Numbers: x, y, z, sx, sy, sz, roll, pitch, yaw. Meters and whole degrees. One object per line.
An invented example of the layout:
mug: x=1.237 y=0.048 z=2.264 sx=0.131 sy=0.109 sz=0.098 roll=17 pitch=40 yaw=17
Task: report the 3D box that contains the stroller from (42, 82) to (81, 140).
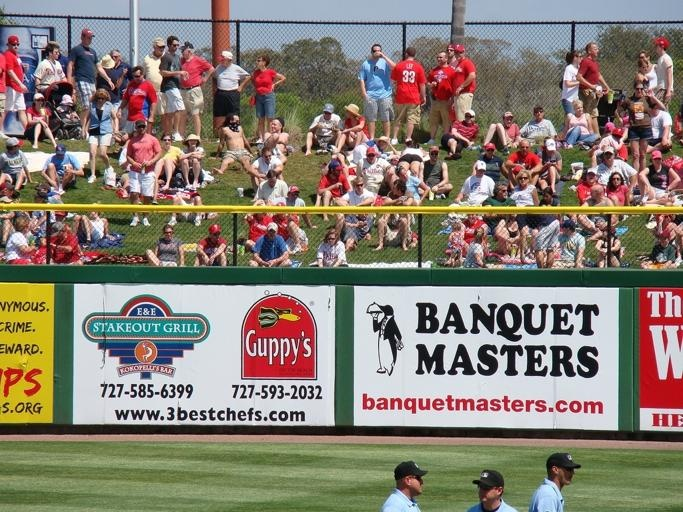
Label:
stroller: x=-5.588 y=-2.883 z=37.965 sx=0.450 sy=1.171 sz=0.597 roll=7 pitch=10 yaw=34
